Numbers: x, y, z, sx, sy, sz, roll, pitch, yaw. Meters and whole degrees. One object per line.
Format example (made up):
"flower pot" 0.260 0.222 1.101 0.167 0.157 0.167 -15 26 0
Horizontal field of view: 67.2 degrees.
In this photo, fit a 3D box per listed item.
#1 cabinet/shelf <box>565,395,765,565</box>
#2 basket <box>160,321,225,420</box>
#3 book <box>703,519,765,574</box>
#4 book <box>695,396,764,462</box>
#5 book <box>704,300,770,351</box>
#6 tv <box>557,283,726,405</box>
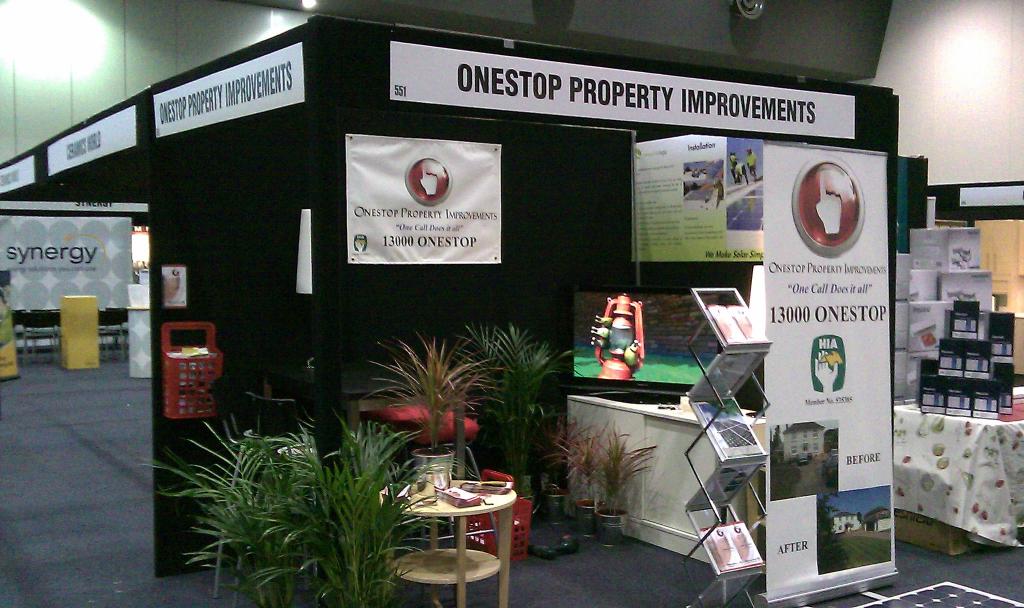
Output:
"cabinet/shelf" 1.307 1.491 6.400 0.511 1.009 1.464 1 2 -38
"basket" -2.704 0.563 6.576 0.491 0.814 0.356 -3 9 -22
"book" 1.553 1.720 5.462 0.432 0.305 0.098 -9 -17 -28
"book" 1.552 0.895 5.534 0.469 0.389 0.257 -2 8 -16
"book" 1.559 0.143 5.466 0.338 0.322 0.067 -8 -25 -26
"tv" 1.197 0.379 6.996 1.129 0.822 0.057 3 -3 36
